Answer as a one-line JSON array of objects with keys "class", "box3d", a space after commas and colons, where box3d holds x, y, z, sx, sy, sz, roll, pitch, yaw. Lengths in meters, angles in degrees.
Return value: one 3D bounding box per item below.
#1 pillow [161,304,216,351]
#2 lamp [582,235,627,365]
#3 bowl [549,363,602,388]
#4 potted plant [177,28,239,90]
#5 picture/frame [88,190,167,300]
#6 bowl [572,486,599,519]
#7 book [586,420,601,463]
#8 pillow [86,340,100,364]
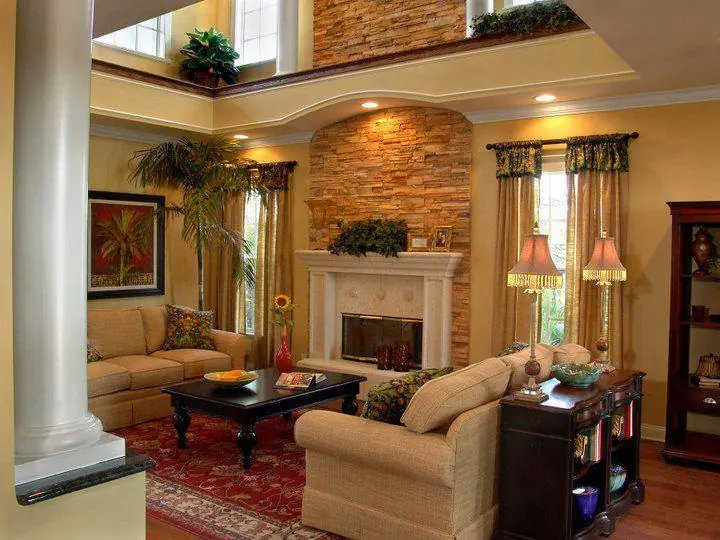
[{"class": "pillow", "box3d": [-2.101, 0.719, 6.405, 0.598, 0.460, 0.200, 4, -24, -19]}, {"class": "lamp", "box3d": [2.096, 0.307, 4.569, 0.362, 1.304, 1.680, 3, 4, 26]}, {"class": "bowl", "box3d": [1.390, 0.670, 3.461, 0.206, 0.067, 0.199, 0, -1, 0]}, {"class": "potted plant", "box3d": [-2.244, -3.159, 7.753, 0.742, 0.569, 0.673, 7, 11, 1]}, {"class": "picture/frame", "box3d": [-3.104, -0.333, 7.068, 0.273, 1.400, 1.061, 3, 4, 31]}, {"class": "bowl", "box3d": [1.395, 1.460, 3.313, 0.180, 0.137, 0.145, -1, -7, 4]}, {"class": "book", "box3d": [1.465, 1.074, 3.286, 0.057, 0.199, 0.231, 1, -5, 34]}, {"class": "pillow", "box3d": [-2.839, 0.877, 5.621, 0.105, 0.207, 0.278, -1, 3, -22]}]
